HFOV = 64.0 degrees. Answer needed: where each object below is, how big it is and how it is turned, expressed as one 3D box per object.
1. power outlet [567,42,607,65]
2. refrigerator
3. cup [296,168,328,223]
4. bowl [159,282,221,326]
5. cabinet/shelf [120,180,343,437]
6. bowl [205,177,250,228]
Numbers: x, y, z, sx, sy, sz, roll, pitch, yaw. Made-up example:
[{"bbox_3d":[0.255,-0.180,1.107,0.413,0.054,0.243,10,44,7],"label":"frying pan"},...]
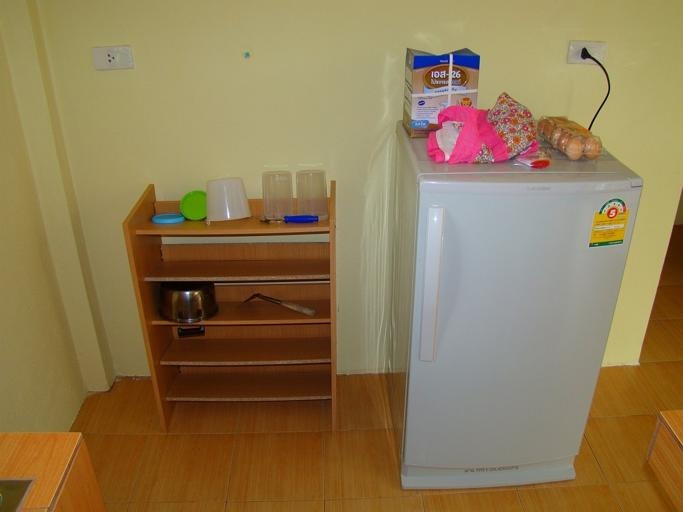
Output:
[{"bbox_3d":[1.104,-0.921,2.452,0.176,0.096,0.027,-1,27,-6],"label":"power outlet"},{"bbox_3d":[0.679,0.309,2.325,0.857,1.424,0.468,-2,27,-7],"label":"refrigerator"},{"bbox_3d":[-0.127,-0.281,2.454,0.137,0.197,0.136,1,27,-1],"label":"cup"},{"bbox_3d":[-0.719,0.214,2.534,0.195,0.120,0.199,2,21,-1],"label":"bowl"},{"bbox_3d":[-0.464,0.279,2.661,0.895,1.144,0.368,-1,16,1],"label":"cabinet/shelf"},{"bbox_3d":[-0.501,-0.240,2.407,0.180,0.162,0.185,-4,12,1],"label":"bowl"}]
